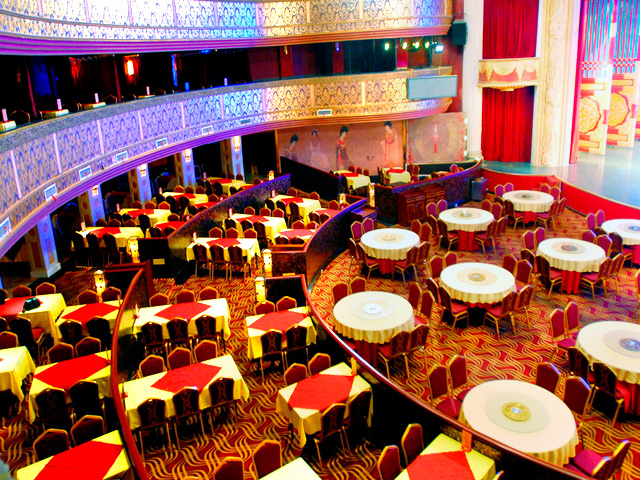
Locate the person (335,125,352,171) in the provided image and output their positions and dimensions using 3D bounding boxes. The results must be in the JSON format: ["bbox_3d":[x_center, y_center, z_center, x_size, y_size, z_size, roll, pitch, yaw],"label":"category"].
[{"bbox_3d":[0.991,-3.827,19.680,0.722,1.757,0.377,-20,27,-35],"label":"person"}]

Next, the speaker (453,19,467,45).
[{"bbox_3d":[5.384,-7.978,18.281,0.565,0.896,0.401,4,23,16],"label":"speaker"}]
